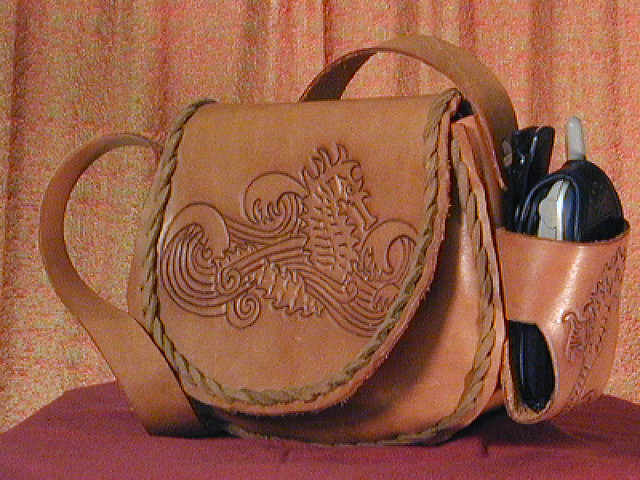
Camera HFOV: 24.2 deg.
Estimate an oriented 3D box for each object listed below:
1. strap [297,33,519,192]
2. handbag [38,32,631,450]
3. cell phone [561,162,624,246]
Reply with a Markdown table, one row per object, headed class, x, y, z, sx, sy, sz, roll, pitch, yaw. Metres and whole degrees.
| class | x | y | z | sx | sy | sz | roll | pitch | yaw |
| --- | --- | --- | --- | --- | --- | --- | --- | --- | --- |
| strap | 0.087 | -0.183 | 2.106 | 0.304 | 0.334 | 0.238 | -1 | 103 | -9 |
| handbag | 0.000 | 0.018 | 2.139 | 0.726 | 0.398 | 0.617 | 0 | 85 | 15 |
| cell phone | 0.363 | -0.048 | 1.980 | 0.067 | 0.027 | 0.112 | -6 | 92 | -7 |
